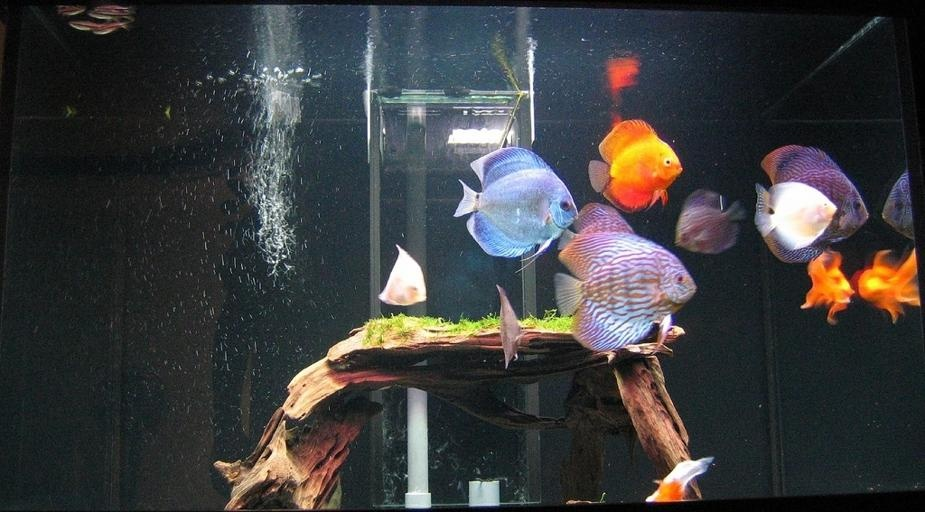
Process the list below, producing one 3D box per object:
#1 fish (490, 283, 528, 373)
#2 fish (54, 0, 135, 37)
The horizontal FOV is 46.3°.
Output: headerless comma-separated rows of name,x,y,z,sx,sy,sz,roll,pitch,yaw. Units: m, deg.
fish,0.338,0.547,8.132,0.308,0.293,0.562,-9,-61,-4
fish,-2.575,-1.697,7.759,0.734,0.158,0.229,-3,-59,-28
